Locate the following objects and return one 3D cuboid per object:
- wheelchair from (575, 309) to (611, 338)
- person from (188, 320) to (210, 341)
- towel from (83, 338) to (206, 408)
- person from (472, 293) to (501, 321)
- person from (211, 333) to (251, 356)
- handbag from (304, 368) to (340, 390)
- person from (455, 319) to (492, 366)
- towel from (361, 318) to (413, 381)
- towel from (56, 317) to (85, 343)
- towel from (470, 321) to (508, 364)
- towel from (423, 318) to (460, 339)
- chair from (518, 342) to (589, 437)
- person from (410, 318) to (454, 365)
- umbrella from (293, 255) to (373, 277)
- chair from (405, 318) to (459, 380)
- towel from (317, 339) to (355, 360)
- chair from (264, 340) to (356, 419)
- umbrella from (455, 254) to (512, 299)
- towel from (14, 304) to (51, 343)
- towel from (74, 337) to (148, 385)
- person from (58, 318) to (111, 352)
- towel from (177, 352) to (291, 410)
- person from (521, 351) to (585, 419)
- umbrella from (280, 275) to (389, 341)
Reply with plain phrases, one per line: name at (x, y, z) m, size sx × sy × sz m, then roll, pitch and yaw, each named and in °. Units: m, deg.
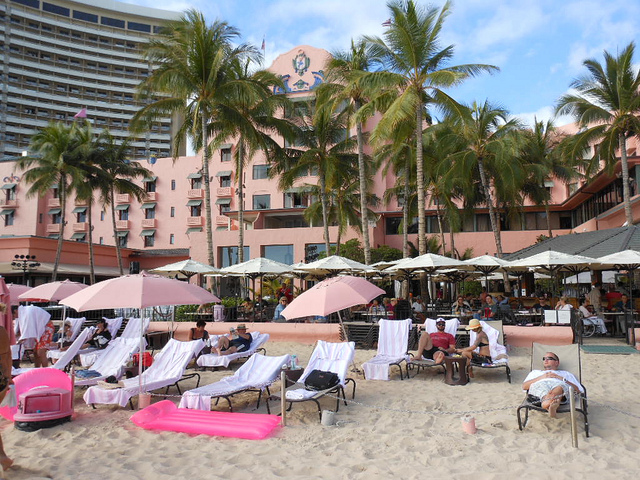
wheelchair at (9.694, 2.995, 20.201) m, size 1.022 × 1.020 × 0.578 m, roll 1°, pitch -2°, yaw -1°
person at (-3.649, 2.712, 16.852) m, size 0.465 × 0.687 × 0.771 m, roll -1°, pitch 9°, yaw -4°
towel at (-4.085, 3.137, 13.613) m, size 1.638 × 1.139 × 2.770 m, roll -4°, pitch -2°, yaw 28°
person at (6.368, 2.630, 21.480) m, size 0.831 × 0.943 × 1.719 m, roll -9°, pitch -23°, yaw 35°
person at (-2.534, 3.031, 16.607) m, size 1.122 × 0.498 × 0.702 m, roll -5°, pitch 10°, yaw -29°
handbag at (0.002, 3.217, 13.064) m, size 0.448 × 0.169 × 0.465 m, roll 3°, pitch 7°, yaw 26°
person at (4.148, 2.824, 15.075) m, size 0.849 × 1.323 × 0.953 m, roll 2°, pitch 9°, yaw 14°
towel at (1.859, 3.001, 15.422) m, size 0.899 × 1.449 × 1.435 m, roll 3°, pitch 9°, yaw 22°
towel at (-8.334, 3.039, 19.111) m, size 0.676 × 0.346 × 0.969 m, roll -3°, pitch 1°, yaw -3°
towel at (4.476, 2.783, 15.714) m, size 0.722 × 1.284 × 1.237 m, roll -3°, pitch -11°, yaw 11°
towel at (3.537, 2.569, 16.437) m, size 0.901 × 0.642 × 1.174 m, roll 1°, pitch 9°, yaw 10°
chair at (5.016, 3.112, 12.178) m, size 1.317 × 1.273 × 2.436 m, roll -3°, pitch 3°, yaw 24°
person at (3.090, 2.725, 15.280) m, size 1.092 × 1.214 × 2.077 m, roll 5°, pitch -5°, yaw 17°
umbrella at (0.521, 0.996, 21.530) m, size 2.677 × 0.554 × 1.270 m, roll 2°, pitch 9°, yaw 17°
chair at (3.089, 3.206, 15.321) m, size 1.562 × 1.069 × 0.901 m, roll -4°, pitch -16°, yaw 5°
towel at (0.373, 2.731, 13.906) m, size 0.589 × 0.252 × 0.597 m, roll -4°, pitch 9°, yaw 8°
chair at (-0.101, 3.251, 13.198) m, size 1.343 × 1.477 × 2.407 m, roll -1°, pitch 1°, yaw 27°
umbrella at (6.213, 0.932, 21.285) m, size 1.876 × 1.826 × 1.760 m, roll -1°, pitch -7°, yaw -3°
towel at (-8.542, 2.411, 16.806) m, size 0.765 × 1.286 × 1.292 m, roll 5°, pitch 3°, yaw -8°
towel at (-5.849, 3.408, 14.923) m, size 1.714 × 1.446 × 1.560 m, roll 2°, pitch -1°, yaw 31°
person at (-7.221, 3.061, 17.565) m, size 0.596 × 0.914 × 1.883 m, roll 11°, pitch 6°, yaw 9°
towel at (-1.970, 3.319, 13.391) m, size 1.599 × 1.030 × 2.512 m, roll -9°, pitch -6°, yaw 44°
person at (5.011, 3.077, 12.269) m, size 1.134 × 1.131 × 2.506 m, roll -10°, pitch -7°, yaw 21°
umbrella at (0.103, 1.990, 14.985) m, size 2.322 × 1.634 × 2.342 m, roll -11°, pitch 0°, yaw -34°
